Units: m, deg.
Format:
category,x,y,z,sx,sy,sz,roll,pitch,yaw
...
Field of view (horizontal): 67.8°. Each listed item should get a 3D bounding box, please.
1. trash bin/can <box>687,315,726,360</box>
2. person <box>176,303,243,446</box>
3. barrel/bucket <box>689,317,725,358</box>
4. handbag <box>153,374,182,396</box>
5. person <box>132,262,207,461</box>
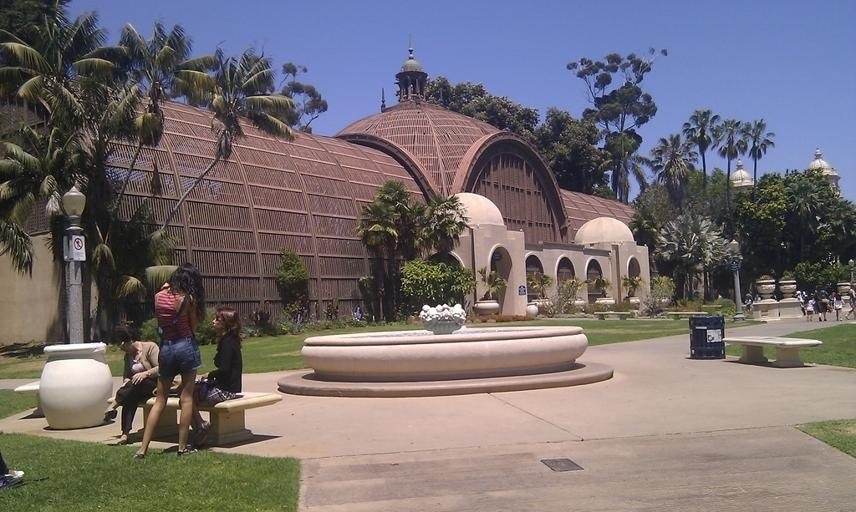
category,x,y,z,sx,sy,sz,roll,pitch,yaw
trash bin/can,9.490,2.757,21.989,1.372,1.599,1.366,2,-2,-35
person,-4.479,2.481,13.233,1.247,2.689,1.107,2,-7,-14
barrel/bucket,9.666,2.754,22.050,1.364,1.589,1.355,1,-2,0
handbag,-5.217,2.582,12.754,0.507,0.196,0.503,-1,-16,-3
person,-4.996,1.997,12.527,1.129,3.662,0.795,-2,4,-15
